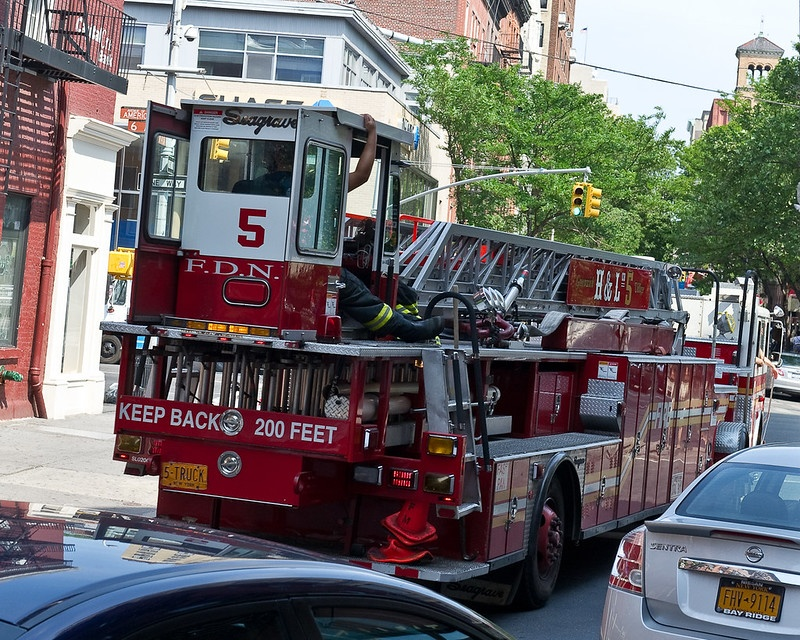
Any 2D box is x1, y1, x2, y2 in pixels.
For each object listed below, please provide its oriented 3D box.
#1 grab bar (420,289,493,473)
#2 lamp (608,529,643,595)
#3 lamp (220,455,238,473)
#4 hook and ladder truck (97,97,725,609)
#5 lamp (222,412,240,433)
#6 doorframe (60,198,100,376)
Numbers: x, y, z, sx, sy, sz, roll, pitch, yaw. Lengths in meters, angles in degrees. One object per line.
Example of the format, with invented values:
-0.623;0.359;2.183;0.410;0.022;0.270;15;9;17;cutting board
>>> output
0.480;0.522;7.305;0.108;1.500;0.493;-14;-9;42;grab bar
1.445;1.511;6.036;0.214;0.109;0.408;5;34;14;lamp
-1.219;1.034;6.871;0.132;0.133;0.050;0;3;23;lamp
0.764;0.082;10.426;3.007;3.544;8.425;2;4;27;hook and ladder truck
-1.207;0.737;6.890;0.141;0.142;0.038;4;2;20;lamp
-6.011;-0.484;18.058;0.209;2.431;0.520;13;11;29;doorframe
